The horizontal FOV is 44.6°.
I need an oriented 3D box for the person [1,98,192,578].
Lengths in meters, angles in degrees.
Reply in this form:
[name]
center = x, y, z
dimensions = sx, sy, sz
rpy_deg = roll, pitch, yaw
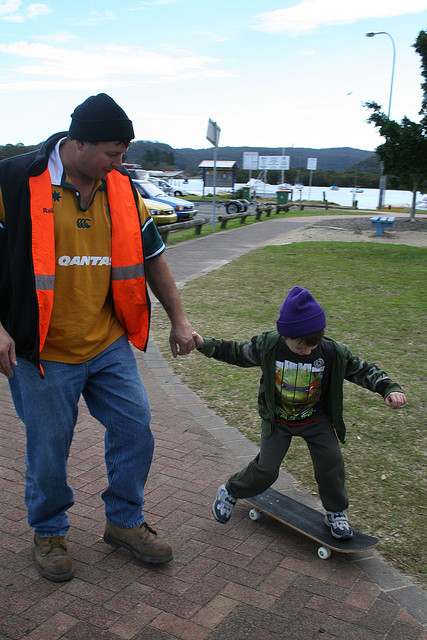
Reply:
[person]
center = -0.511, 0.121, 2.247
dimensions = 0.712, 2.018, 0.426
rpy_deg = 0, 12, -16

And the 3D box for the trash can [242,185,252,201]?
[trash can]
center = 2.689, -10.273, 42.266
dimensions = 0.601, 1.069, 1.105
rpy_deg = 4, 10, 3

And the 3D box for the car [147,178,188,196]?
[car]
center = -3.241, -9.751, 38.122
dimensions = 3.053, 1.256, 1.665
rpy_deg = 1, 31, 3

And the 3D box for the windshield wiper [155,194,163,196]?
[windshield wiper]
center = -2.153, -4.915, 20.449
dimensions = 0.061, 0.077, 0.331
rpy_deg = 6, 10, 17

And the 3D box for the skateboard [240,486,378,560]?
[skateboard]
center = 0.393, 0.999, 2.737
dimensions = 0.260, 0.143, 0.930
rpy_deg = -6, 10, -40

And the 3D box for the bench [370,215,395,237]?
[bench]
center = 6.241, -3.495, 19.266
dimensions = 0.708, 0.743, 1.267
rpy_deg = 5, 10, 13
